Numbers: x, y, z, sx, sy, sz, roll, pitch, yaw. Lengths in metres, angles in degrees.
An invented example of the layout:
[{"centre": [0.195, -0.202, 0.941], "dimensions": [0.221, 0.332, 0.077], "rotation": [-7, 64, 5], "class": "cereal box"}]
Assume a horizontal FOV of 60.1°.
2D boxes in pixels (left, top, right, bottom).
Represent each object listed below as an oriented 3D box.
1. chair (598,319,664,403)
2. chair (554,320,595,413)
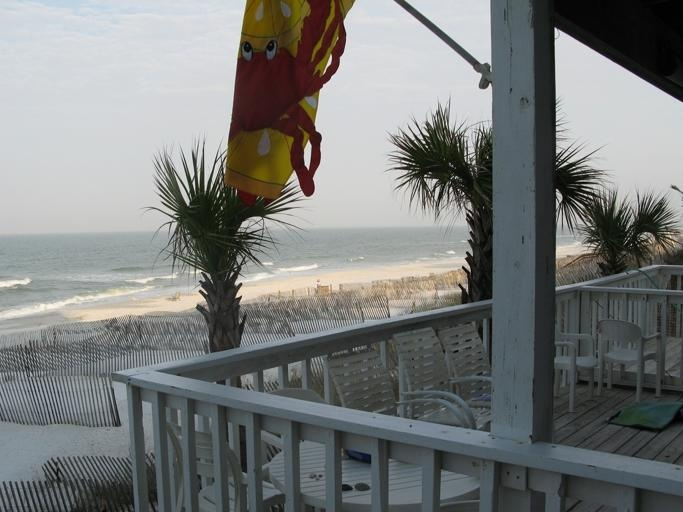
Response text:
[{"centre": [2.993, 1.052, 6.254], "dimensions": [0.466, 0.805, 0.490], "rotation": [-2, -1, 39], "class": "chair"}, {"centre": [2.422, 1.160, 6.283], "dimensions": [0.506, 0.741, 0.450], "rotation": [-3, 3, -44], "class": "chair"}]
